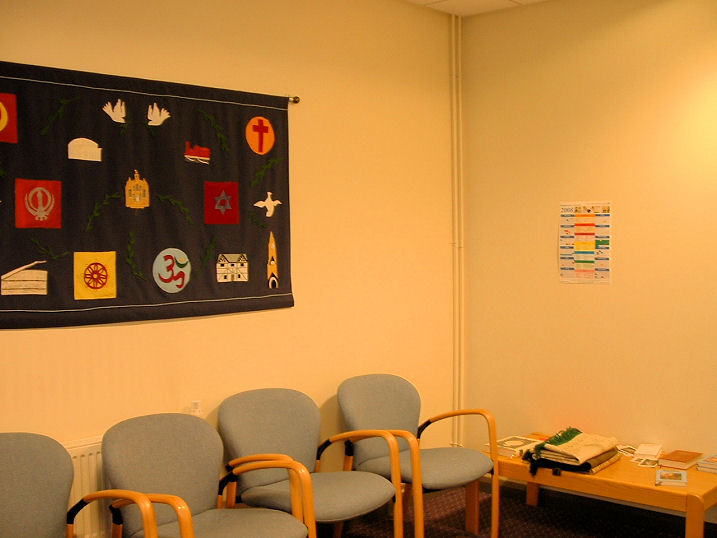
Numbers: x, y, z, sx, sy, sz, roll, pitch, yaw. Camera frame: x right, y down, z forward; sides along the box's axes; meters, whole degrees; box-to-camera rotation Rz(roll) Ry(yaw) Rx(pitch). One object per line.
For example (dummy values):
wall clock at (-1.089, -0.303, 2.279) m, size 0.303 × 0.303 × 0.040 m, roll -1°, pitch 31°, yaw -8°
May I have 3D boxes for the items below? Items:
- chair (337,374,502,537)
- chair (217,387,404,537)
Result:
chair at (0.307, 1.182, 4.051) m, size 0.859 × 1.219 × 1.015 m, roll 2°, pitch -5°, yaw -39°
chair at (-0.296, 0.998, 3.614) m, size 0.815 × 0.859 × 0.910 m, roll 3°, pitch -7°, yaw -41°
